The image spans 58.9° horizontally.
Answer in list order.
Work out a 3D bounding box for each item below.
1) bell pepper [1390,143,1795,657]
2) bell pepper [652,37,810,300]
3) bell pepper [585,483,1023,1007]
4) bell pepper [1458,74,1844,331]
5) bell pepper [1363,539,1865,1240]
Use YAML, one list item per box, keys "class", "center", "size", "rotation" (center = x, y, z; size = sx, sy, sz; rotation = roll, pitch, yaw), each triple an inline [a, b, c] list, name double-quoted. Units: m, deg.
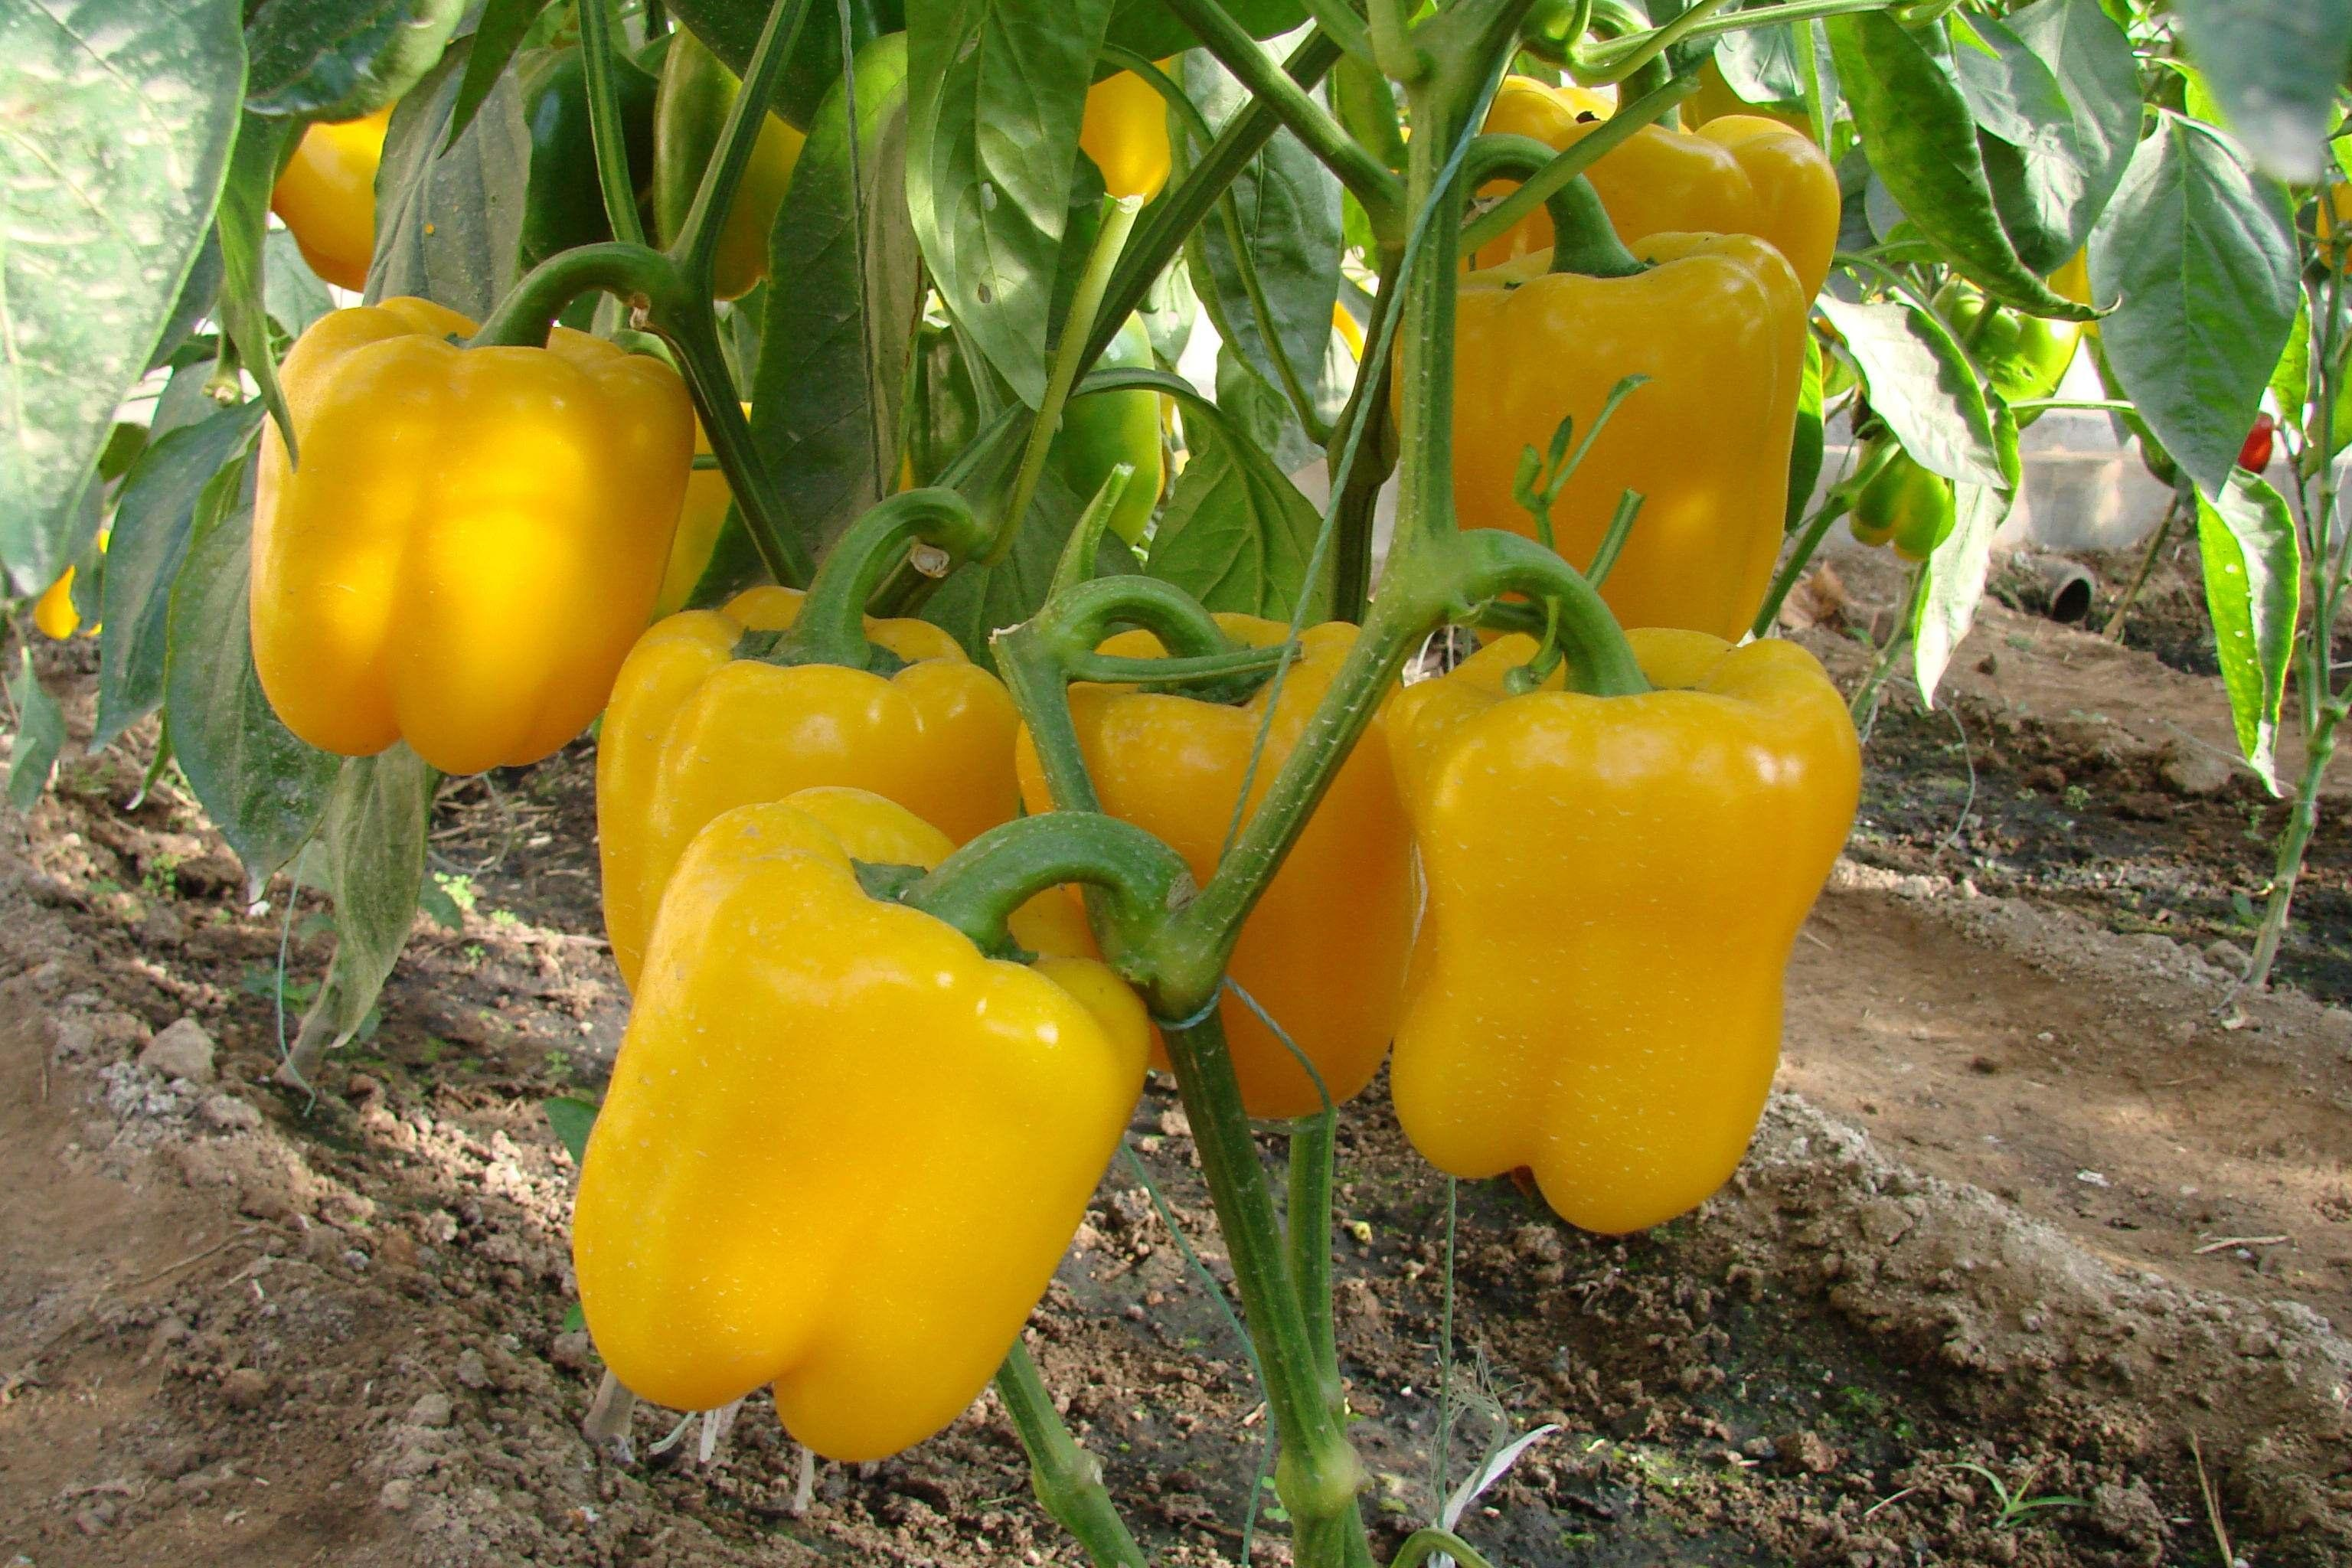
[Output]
- class: "bell pepper"
  center: [0.308, -0.273, 1.447]
  size: [0.251, 0.363, 0.226]
  rotation: [-21, 24, -28]
- class: "bell pepper"
  center: [-0.327, -0.442, 1.534]
  size: [0.106, 0.193, 0.083]
  rotation: [15, 20, 25]
- class: "bell pepper"
  center: [-0.239, -0.051, 1.395]
  size: [0.238, 0.346, 0.226]
  rotation: [0, 22, -27]
- class: "bell pepper"
  center: [0.350, -0.383, 1.489]
  size: [0.189, 0.254, 0.201]
  rotation: [12, 14, 32]
- class: "bell pepper"
  center: [0.272, 0.075, 1.376]
  size: [0.292, 0.421, 0.294]
  rotation: [9, 16, 26]
